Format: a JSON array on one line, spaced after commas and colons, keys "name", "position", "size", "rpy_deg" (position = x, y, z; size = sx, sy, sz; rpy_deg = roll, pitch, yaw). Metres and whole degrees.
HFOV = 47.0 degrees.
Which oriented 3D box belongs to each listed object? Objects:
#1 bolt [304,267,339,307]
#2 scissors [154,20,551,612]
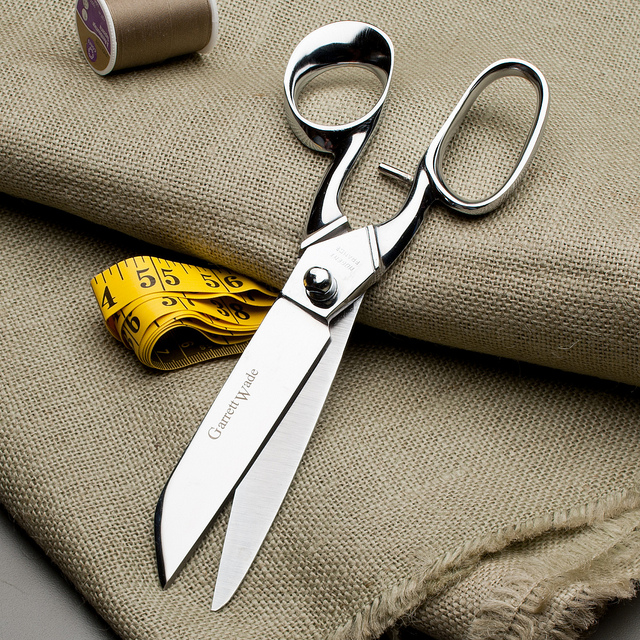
[{"name": "bolt", "position": [0.002, -0.031, 0.683], "size": [0.033, 0.034, 0.029], "rpy_deg": [1, 72, -5]}, {"name": "scissors", "position": [0.006, -0.037, 0.689], "size": [0.264, 0.131, 0.615], "rpy_deg": [25, 71, 3]}]
